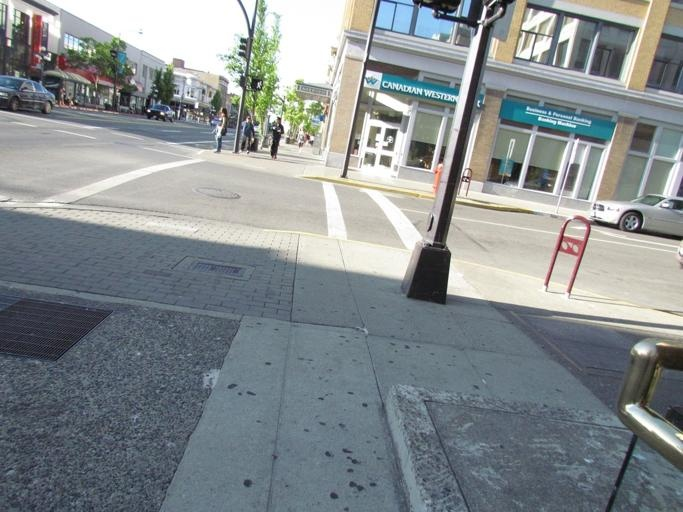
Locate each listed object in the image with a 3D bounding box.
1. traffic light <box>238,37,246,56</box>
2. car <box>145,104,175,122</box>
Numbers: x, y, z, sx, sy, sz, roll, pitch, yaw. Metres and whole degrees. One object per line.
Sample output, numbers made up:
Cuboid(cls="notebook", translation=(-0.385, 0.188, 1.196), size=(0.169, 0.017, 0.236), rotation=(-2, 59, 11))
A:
Cuboid(cls="traffic light", translation=(-4.693, -9.765, 23.067), size=(0.387, 0.770, 1.547), rotation=(6, 10, -13))
Cuboid(cls="car", translation=(-23.579, -18.253, 63.588), size=(2.635, 1.871, 5.775), rotation=(1, 17, -10))
